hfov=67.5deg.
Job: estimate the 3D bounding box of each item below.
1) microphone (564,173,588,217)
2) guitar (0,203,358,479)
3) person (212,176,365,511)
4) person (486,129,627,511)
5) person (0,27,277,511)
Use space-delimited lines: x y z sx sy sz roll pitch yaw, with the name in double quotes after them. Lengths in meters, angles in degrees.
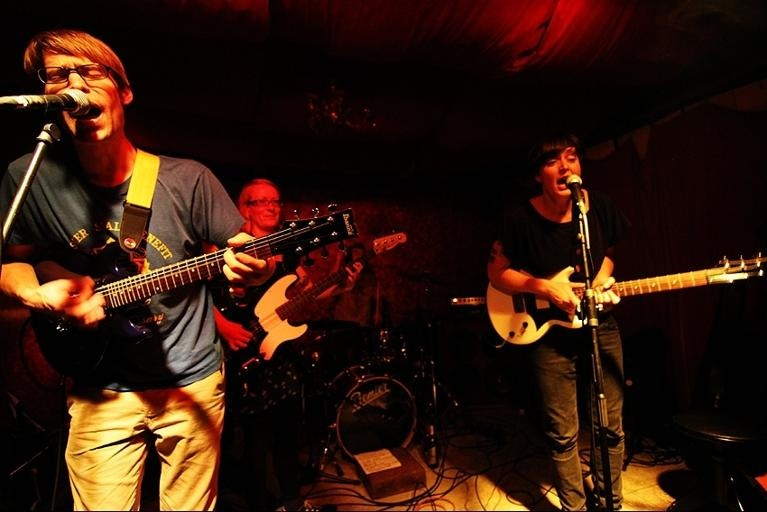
1.474 -0.502 4.329 0.146 0.151 0.493 -3 25 5 "microphone"
-1.168 0.179 3.711 2.359 1.031 0.274 -14 -1 1 "guitar"
-1.075 0.685 5.345 1.188 2.906 0.300 10 2 -30 "person"
1.400 0.596 4.705 1.075 3.058 1.042 -1 14 18 "person"
-1.724 0.149 3.847 1.596 3.263 0.851 -9 14 -14 "person"
